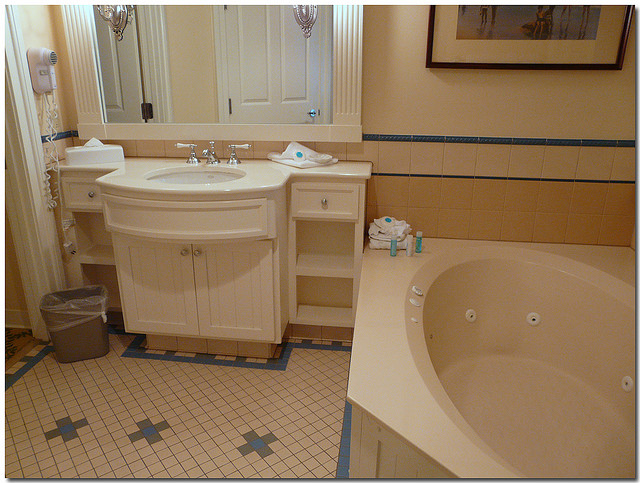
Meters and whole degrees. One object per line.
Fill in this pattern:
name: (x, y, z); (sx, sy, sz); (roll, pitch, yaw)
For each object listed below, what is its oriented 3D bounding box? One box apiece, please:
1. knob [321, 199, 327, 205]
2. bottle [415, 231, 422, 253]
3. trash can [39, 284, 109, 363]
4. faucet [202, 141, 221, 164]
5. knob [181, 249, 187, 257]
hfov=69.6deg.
knob: (0.023, -0.240, 2.773); (0.024, 0.028, 0.012); (-11, -11, -2)
bottle: (0.627, -0.017, 2.916); (0.043, 0.141, 0.133); (4, 21, 11)
trash can: (-1.541, 0.511, 2.929); (0.362, 0.429, 0.330); (-10, 18, -32)
faucet: (-0.712, -0.576, 2.985); (0.095, 0.123, 0.141); (-11, 23, -26)
knob: (-0.794, 0.063, 2.665); (0.030, 0.031, 0.010); (-1, 13, 0)
